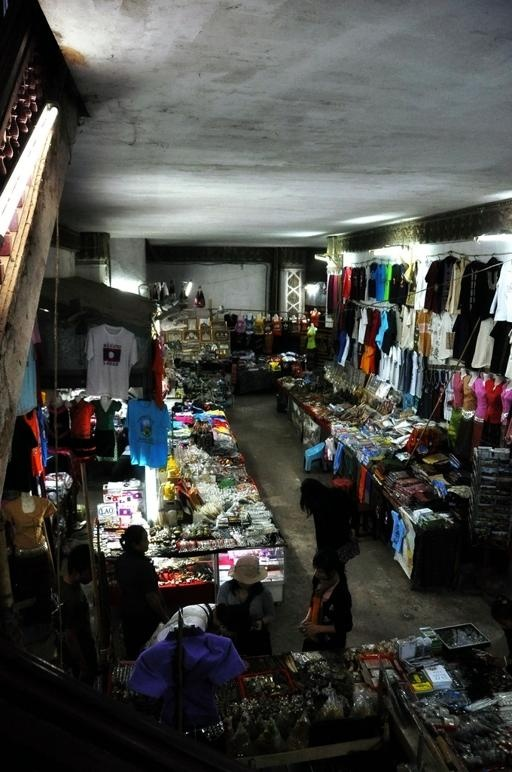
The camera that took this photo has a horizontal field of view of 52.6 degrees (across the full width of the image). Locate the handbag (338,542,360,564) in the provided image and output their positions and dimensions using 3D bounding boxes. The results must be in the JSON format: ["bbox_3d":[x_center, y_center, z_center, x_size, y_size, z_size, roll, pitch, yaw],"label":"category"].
[{"bbox_3d":[0.880,1.608,4.893,0.188,0.107,0.381,-6,11,-1],"label":"handbag"}]

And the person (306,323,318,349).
[{"bbox_3d":[1.711,-1.522,15.845,0.391,0.832,0.238,2,7,23],"label":"person"}]
